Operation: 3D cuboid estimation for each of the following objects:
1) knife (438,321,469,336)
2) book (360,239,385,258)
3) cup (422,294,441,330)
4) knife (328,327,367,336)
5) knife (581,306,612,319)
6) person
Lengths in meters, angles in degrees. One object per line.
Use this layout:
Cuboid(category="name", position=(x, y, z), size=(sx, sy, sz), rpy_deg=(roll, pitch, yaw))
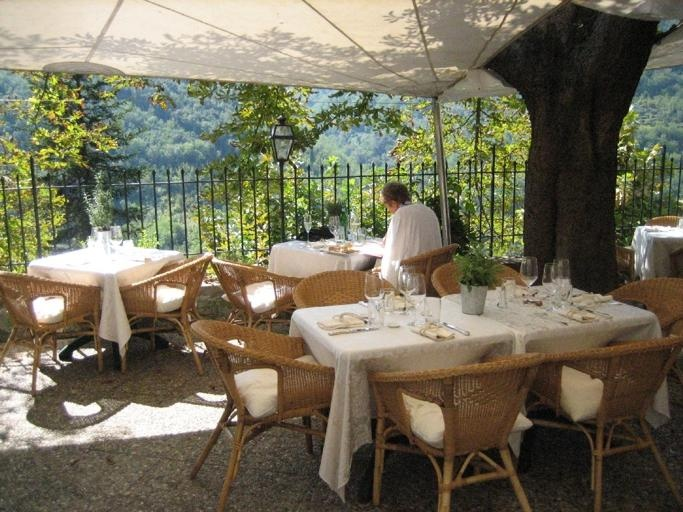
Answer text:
Cuboid(category="knife", position=(0.729, 0.452, 3.364), size=(0.055, 0.032, 0.325), rpy_deg=(-11, 14, -29))
Cuboid(category="book", position=(0.403, -0.093, 6.148), size=(0.254, 0.051, 0.243), rpy_deg=(-12, 21, -37))
Cuboid(category="cup", position=(0.602, 0.363, 3.406), size=(0.171, 0.238, 0.164), rpy_deg=(2, 1, 0))
Cuboid(category="knife", position=(0.051, 0.477, 3.311), size=(0.276, 0.028, 0.089), rpy_deg=(-3, 9, -8))
Cuboid(category="knife", position=(1.772, 0.404, 3.606), size=(0.077, 0.019, 0.248), rpy_deg=(-7, 8, -10))
Cuboid(category="person", position=(0.759, -0.184, 5.798), size=(0.864, 1.239, 0.677), rpy_deg=(-15, 25, -19))
